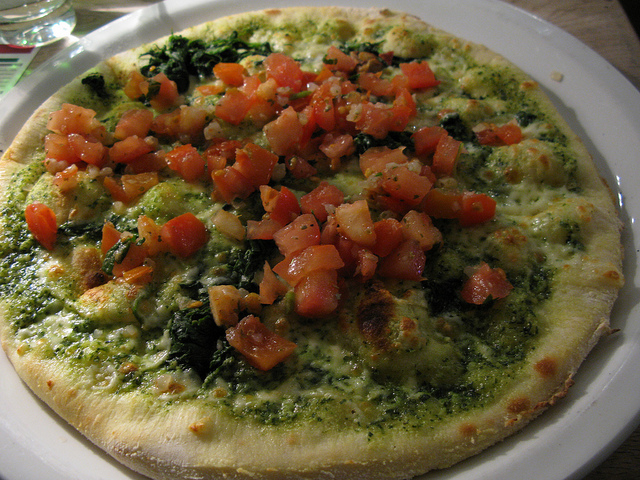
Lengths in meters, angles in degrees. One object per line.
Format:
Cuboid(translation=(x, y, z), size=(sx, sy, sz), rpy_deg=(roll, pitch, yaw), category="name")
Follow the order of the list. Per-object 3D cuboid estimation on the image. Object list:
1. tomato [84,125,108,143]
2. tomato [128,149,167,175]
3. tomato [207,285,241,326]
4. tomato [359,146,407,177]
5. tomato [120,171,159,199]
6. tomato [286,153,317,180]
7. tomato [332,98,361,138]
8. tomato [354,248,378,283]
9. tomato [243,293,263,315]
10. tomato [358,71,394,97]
Cuboid(translation=(-2.195, -1.031, 6.332), size=(0.243, 0.062, 0.229), rpy_deg=(27, 38, 28), category="tomato")
Cuboid(translation=(-1.644, -0.737, 6.157), size=(0.307, 0.107, 0.253), rpy_deg=(31, 80, 7), category="tomato")
Cuboid(translation=(-0.796, 0.539, 5.324), size=(0.332, 0.128, 0.290), rpy_deg=(-3, 78, -19), category="tomato")
Cuboid(translation=(0.588, -0.750, 5.957), size=(0.399, 0.086, 0.375), rpy_deg=(-34, 44, -28), category="tomato")
Cuboid(translation=(-1.700, -0.529, 6.023), size=(0.350, 0.099, 0.272), rpy_deg=(-19, 49, -20), category="tomato")
Cuboid(translation=(-0.196, -0.678, 6.054), size=(0.347, 0.118, 0.203), rpy_deg=(35, 80, 5), category="tomato")
Cuboid(translation=(0.282, -1.203, 6.330), size=(0.399, 0.129, 0.330), rpy_deg=(4, 110, 17), category="tomato")
Cuboid(translation=(0.386, 0.219, 5.505), size=(0.307, 0.140, 0.258), rpy_deg=(-11, 73, 5), category="tomato")
Cuboid(translation=(-0.550, 0.535, 5.391), size=(0.222, 0.062, 0.150), rpy_deg=(-5, 99, -13), category="tomato")
Cuboid(translation=(0.575, -1.602, 6.634), size=(0.335, 0.071, 0.262), rpy_deg=(40, 65, 19), category="tomato")
